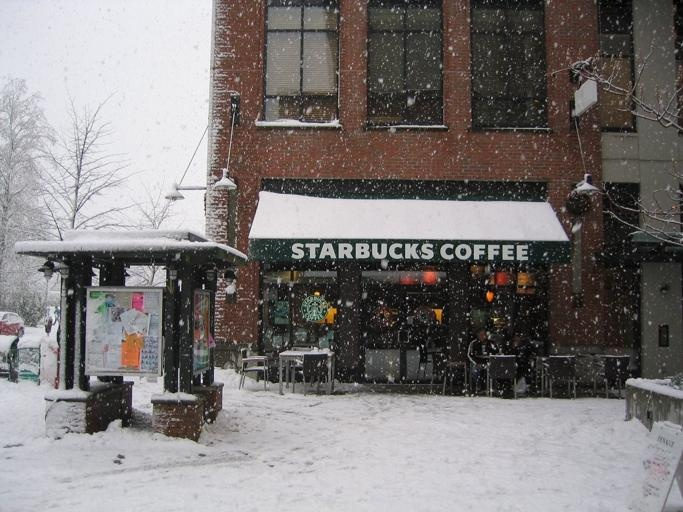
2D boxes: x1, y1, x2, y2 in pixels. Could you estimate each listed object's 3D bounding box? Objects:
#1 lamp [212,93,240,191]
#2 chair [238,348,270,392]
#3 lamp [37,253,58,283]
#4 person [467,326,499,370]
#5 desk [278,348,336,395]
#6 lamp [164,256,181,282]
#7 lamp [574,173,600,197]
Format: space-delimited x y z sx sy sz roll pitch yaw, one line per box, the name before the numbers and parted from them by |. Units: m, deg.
lamp | -3.090 -3.004 23.726 0.724 2.670 1.906 0 9 -8
chair | -2.347 3.072 23.524 0.726 1.122 0.933 1 -4 1
lamp | -6.269 0.269 18.810 0.324 0.697 1.111 -3 10 -22
person | 3.702 2.605 23.148 0.751 1.332 0.697 -15 23 -42
desk | -0.864 2.941 22.769 1.059 0.956 1.172 0 -6 3
lamp | -3.535 0.302 18.408 0.401 0.693 0.456 -1 -1 -5
lamp | 6.528 -1.901 23.381 0.397 0.662 1.149 1 3 -3
